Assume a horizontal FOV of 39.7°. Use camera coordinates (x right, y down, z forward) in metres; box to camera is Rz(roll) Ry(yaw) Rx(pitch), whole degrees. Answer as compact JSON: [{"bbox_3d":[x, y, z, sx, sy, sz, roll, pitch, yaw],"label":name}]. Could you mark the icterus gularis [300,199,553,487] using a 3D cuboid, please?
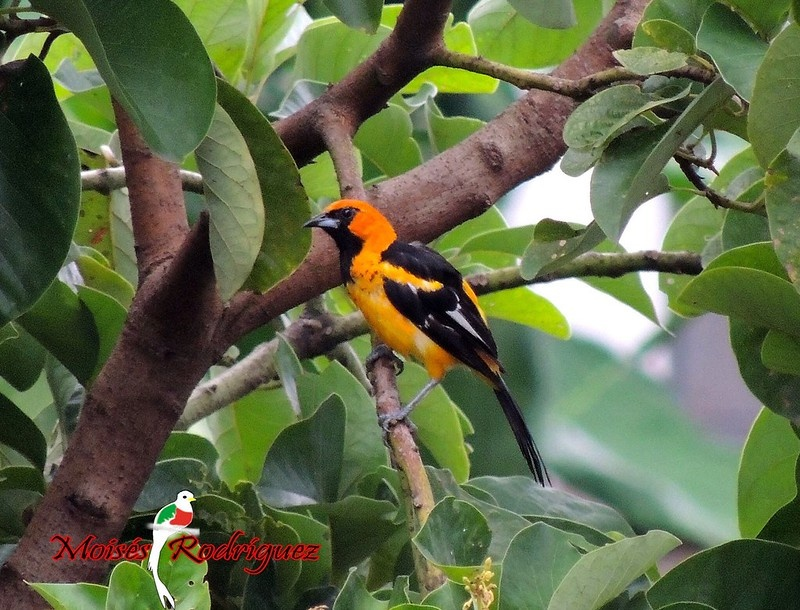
[{"bbox_3d":[0.096,0.110,3.814,0.965,0.830,0.361,10,1,-11],"label":"icterus gularis"}]
